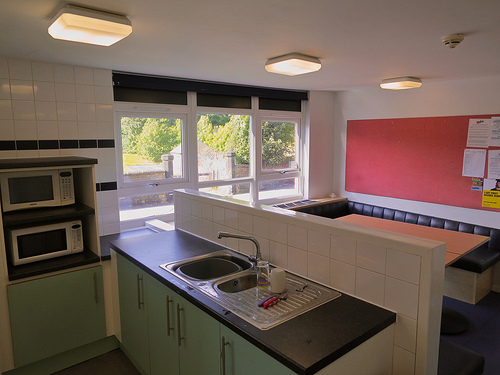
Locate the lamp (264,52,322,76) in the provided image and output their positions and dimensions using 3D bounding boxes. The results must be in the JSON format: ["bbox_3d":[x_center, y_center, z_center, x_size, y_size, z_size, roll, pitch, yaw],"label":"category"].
[{"bbox_3d":[0.407,-1.163,3.540,0.404,0.133,0.424,-8,11,-34],"label":"lamp"}]

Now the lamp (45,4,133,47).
[{"bbox_3d":[-1.111,-1.104,2.571,0.496,0.174,0.350,-7,10,-29],"label":"lamp"}]

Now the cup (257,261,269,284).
[{"bbox_3d":[0.084,0.572,2.491,0.080,0.171,0.056,-2,9,-1],"label":"cup"}]

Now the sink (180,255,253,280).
[{"bbox_3d":[-0.320,0.636,2.913,0.326,0.123,0.266,-7,12,-40],"label":"sink"}]

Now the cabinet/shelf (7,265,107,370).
[{"bbox_3d":[-1.700,1.002,3.462,0.984,0.878,0.674,-5,3,-37],"label":"cabinet/shelf"}]

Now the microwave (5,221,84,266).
[{"bbox_3d":[-1.757,0.472,3.188,0.529,0.266,0.361,-7,8,-40],"label":"microwave"}]

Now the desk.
[{"bbox_3d":[1.725,0.934,4.132,1.001,0.944,1.296,-10,12,-41],"label":"desk"}]

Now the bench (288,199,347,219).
[{"bbox_3d":[0.956,0.399,5.776,0.373,0.272,0.957,-20,-19,35],"label":"bench"}]

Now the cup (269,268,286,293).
[{"bbox_3d":[0.190,0.598,2.449,0.135,0.155,0.124,-2,9,0],"label":"cup"}]

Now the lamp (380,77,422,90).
[{"bbox_3d":[1.786,-1.236,4.436,0.447,0.115,0.298,2,10,21],"label":"lamp"}]
